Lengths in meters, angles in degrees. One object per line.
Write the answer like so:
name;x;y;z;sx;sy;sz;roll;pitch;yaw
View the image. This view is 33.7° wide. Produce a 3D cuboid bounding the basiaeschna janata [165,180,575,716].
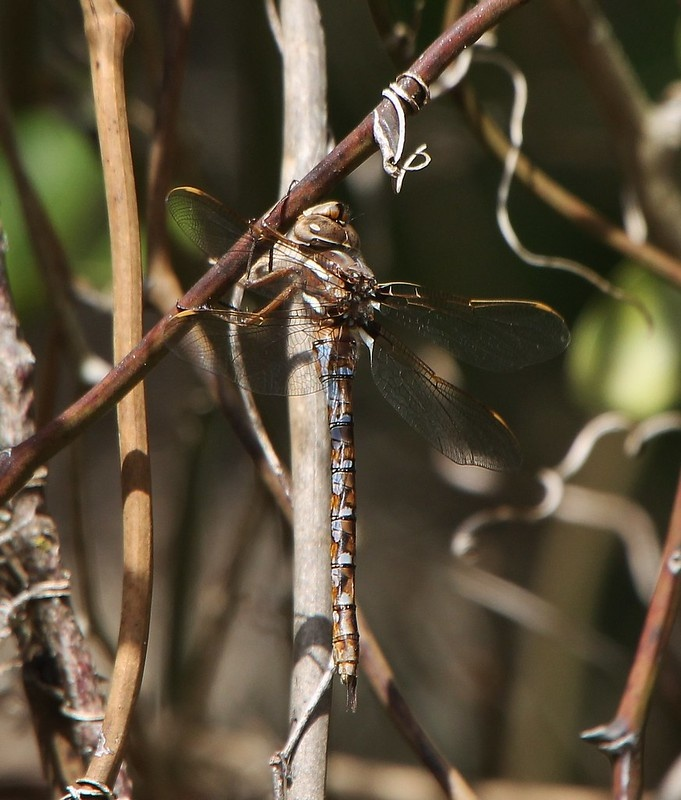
basiaeschna janata;0.028;0.005;0.910;0.274;0.451;0.156;0;1;-19
